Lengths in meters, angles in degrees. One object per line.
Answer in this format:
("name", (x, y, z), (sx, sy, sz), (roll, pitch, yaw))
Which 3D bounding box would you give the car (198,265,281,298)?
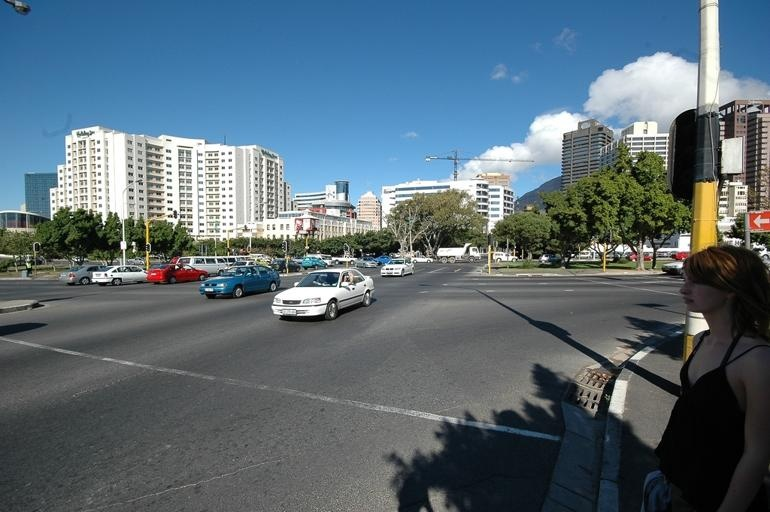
("car", (-6.334, 1.147, 22.928), (1.350, 1.038, 3.083), (-3, -5, 22))

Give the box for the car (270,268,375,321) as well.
("car", (-1.737, 1.143, 16.142), (1.321, 0.959, 2.997), (-3, -3, 20))

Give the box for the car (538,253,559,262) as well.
("car", (20.996, 0.343, 66.613), (2.573, 0.989, 1.242), (-6, 9, -25))

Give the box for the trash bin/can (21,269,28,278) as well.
("trash bin/can", (-30.408, 1.472, 44.735), (0.570, 0.831, 0.437), (-1, 0, 36))

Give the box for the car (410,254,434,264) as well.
("car", (5.217, 0.653, 73.692), (3.428, 1.249, 1.624), (-1, 7, 5))

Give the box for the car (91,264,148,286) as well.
("car", (-16.552, 1.245, 33.110), (1.427, 1.060, 3.256), (4, 7, 22))

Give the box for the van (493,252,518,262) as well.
("van", (19.353, 0.141, 85.289), (2.812, 1.157, 1.724), (-3, 6, 3))

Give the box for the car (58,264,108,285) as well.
("car", (-19.860, 1.243, 35.412), (1.302, 1.123, 3.154), (1, 6, 7))

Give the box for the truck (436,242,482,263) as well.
("truck", (12.170, -0.698, 81.002), (8.507, 2.602, 4.913), (-10, 16, -38))
